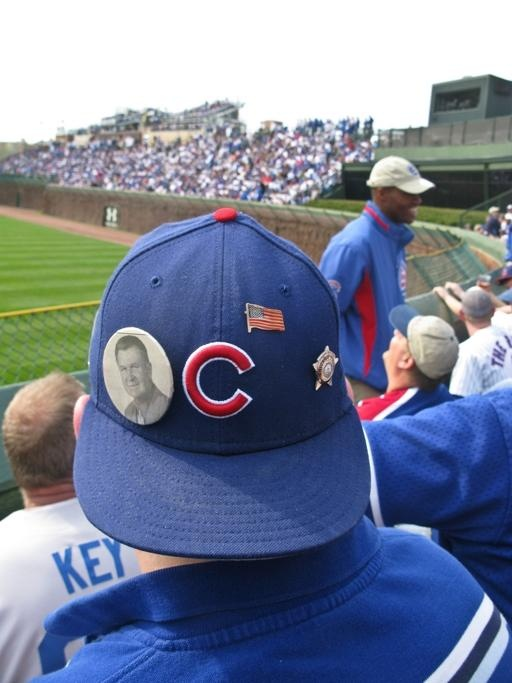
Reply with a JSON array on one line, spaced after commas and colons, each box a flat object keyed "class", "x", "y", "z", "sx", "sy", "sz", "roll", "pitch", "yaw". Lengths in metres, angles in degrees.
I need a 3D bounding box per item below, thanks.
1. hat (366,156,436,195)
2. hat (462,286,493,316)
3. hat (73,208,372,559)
[{"class": "hat", "x": 0.681, "y": -0.774, "z": 3.287, "sx": 0.280, "sy": 0.144, "sz": 0.184, "roll": 9, "pitch": 33, "yaw": 20}, {"class": "hat", "x": 1.193, "y": -0.206, "z": 3.738, "sx": 0.126, "sy": 0.098, "sz": 0.171, "roll": 3, "pitch": 34, "yaw": 7}, {"class": "hat", "x": -0.046, "y": -0.011, "z": 0.882, "sx": 0.399, "sy": 0.229, "sz": 0.542, "roll": 1, "pitch": 32, "yaw": -6}]
